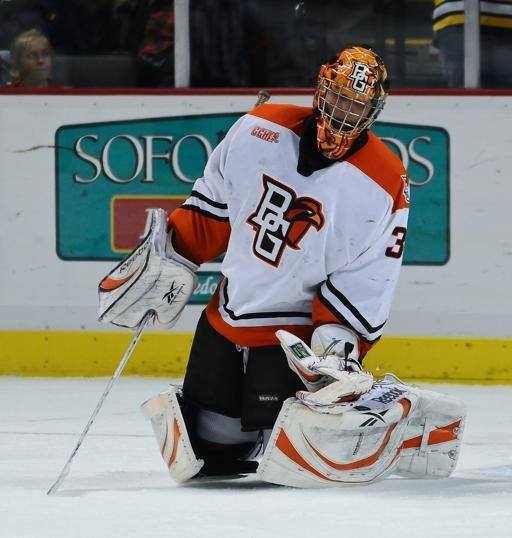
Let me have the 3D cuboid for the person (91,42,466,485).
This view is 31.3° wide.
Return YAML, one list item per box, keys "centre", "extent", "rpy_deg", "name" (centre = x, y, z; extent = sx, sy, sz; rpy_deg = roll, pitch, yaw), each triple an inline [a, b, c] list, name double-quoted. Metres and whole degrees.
- centre: [0.097, 0.013, 2.779]
  extent: [0.944, 1.361, 0.523]
  rpy_deg: [11, 17, 34]
  name: "person"

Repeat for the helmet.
- centre: [0.282, -0.491, 2.715]
  extent: [0.207, 0.328, 0.138]
  rpy_deg: [2, 14, 0]
  name: "helmet"
